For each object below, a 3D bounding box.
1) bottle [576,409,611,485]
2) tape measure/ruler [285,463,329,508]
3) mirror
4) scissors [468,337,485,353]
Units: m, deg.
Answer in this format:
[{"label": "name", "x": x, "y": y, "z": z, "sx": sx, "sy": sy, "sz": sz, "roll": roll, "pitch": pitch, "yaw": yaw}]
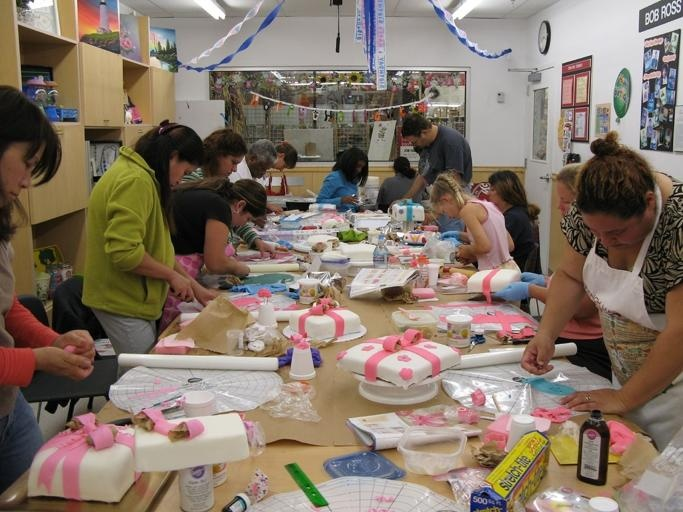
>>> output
[{"label": "bottle", "x": 0.651, "y": 0.502, "z": 1.249, "sx": 0.073, "sy": 0.196, "sz": 0.046, "roll": 4, "pitch": 9, "yaw": 31}, {"label": "tape measure/ruler", "x": -0.092, "y": 0.592, "z": 1.240, "sx": 0.041, "sy": 0.014, "sz": 0.198, "roll": -6, "pitch": 15, "yaw": -29}, {"label": "mirror", "x": 0.017, "y": -2.380, "z": 8.060, "sx": 4.367, "sy": 1.635, "sz": 0.055, "roll": -2, "pitch": -3, "yaw": -6}, {"label": "scissors", "x": 0.569, "y": 0.382, "z": 2.063, "sx": 0.039, "sy": 0.024, "sz": 0.097, "roll": 2, "pitch": 10, "yaw": 26}]
